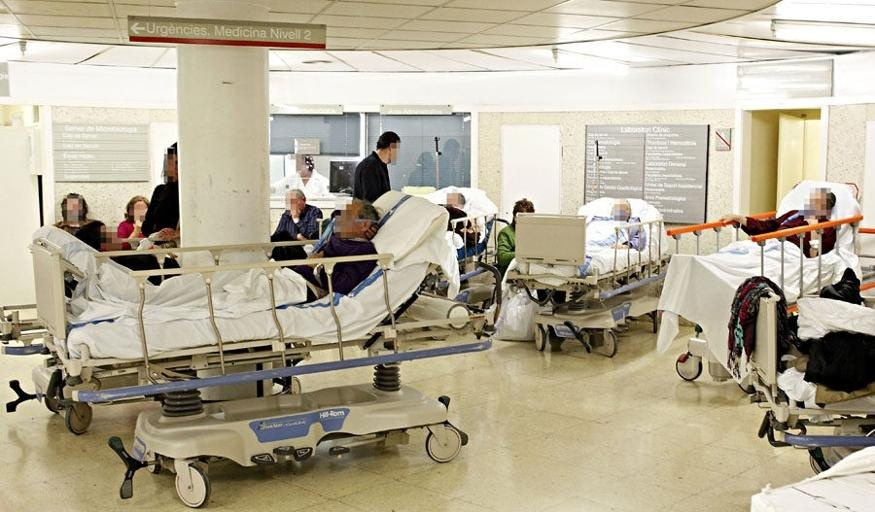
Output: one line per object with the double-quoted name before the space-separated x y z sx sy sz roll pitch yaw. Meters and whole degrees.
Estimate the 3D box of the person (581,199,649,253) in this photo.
"person" 2.807 -0.447 10.601 0.829 0.549 1.038 0 7 21
